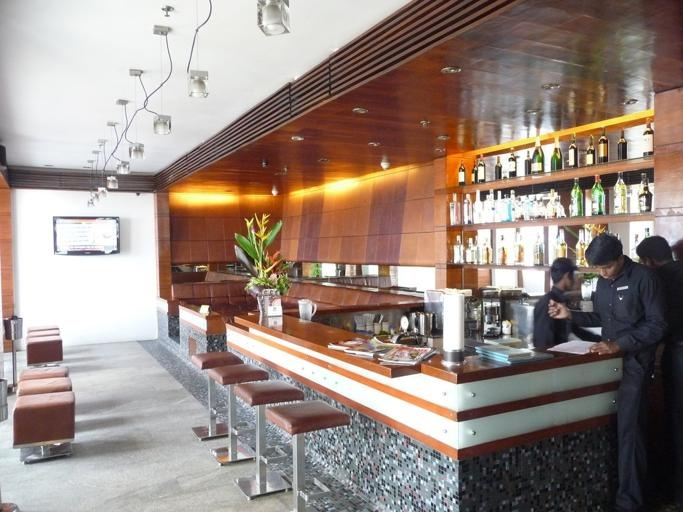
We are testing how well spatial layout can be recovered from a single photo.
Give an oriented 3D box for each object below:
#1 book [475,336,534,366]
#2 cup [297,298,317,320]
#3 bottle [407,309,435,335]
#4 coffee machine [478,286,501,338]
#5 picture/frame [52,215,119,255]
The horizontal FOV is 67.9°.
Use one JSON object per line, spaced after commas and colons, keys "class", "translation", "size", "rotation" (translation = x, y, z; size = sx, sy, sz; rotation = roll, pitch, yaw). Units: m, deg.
{"class": "book", "translation": [1.086, 0.651, 3.421], "size": [0.395, 0.071, 0.302], "rotation": [-1, 3, 27]}
{"class": "cup", "translation": [-0.356, 0.574, 5.417], "size": [0.193, 0.222, 0.286], "rotation": [-3, 3, -5]}
{"class": "bottle", "translation": [0.855, 0.711, 5.310], "size": [0.314, 0.266, 0.196], "rotation": [-1, -3, 34]}
{"class": "coffee machine", "translation": [1.650, 0.614, 5.560], "size": [0.209, 0.469, 0.578], "rotation": [-2, 3, 17]}
{"class": "picture/frame", "translation": [-5.278, -0.415, 10.577], "size": [1.286, 0.735, 0.272], "rotation": [-3, 7, -25]}
